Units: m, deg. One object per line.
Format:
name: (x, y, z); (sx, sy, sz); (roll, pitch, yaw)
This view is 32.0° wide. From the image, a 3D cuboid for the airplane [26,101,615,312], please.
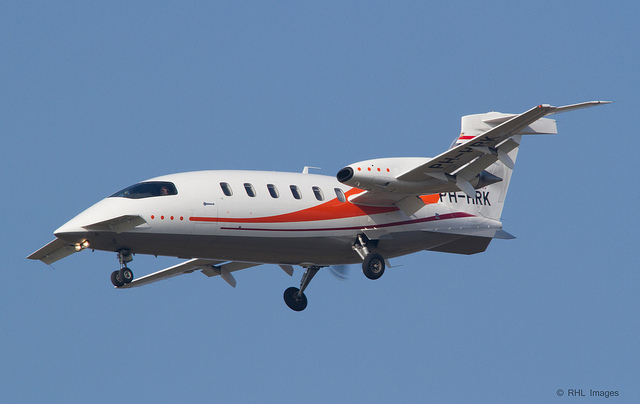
airplane: (-0.470, 0.187, 34.137); (10.220, 2.867, 10.668); (7, -22, -29)
